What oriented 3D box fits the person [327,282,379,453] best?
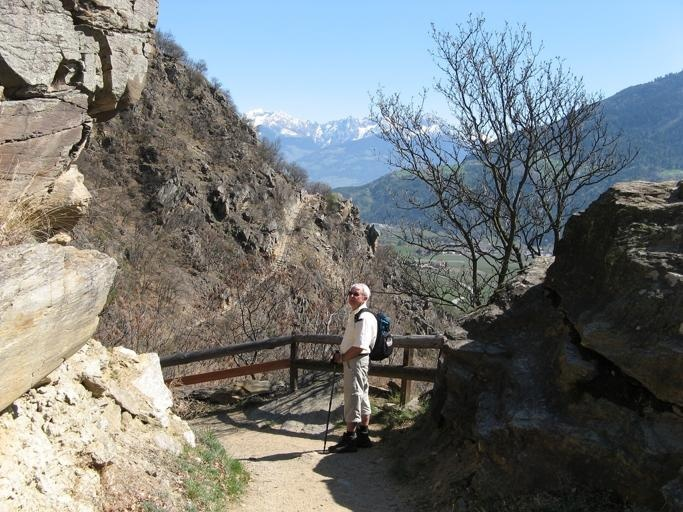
[{"bbox_3d":[0.176,1.372,7.042,0.534,2.064,0.544,3,9,37],"label":"person"}]

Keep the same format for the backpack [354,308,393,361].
[{"bbox_3d":[0.421,0.943,7.086,0.499,0.580,0.379,6,3,2],"label":"backpack"}]
